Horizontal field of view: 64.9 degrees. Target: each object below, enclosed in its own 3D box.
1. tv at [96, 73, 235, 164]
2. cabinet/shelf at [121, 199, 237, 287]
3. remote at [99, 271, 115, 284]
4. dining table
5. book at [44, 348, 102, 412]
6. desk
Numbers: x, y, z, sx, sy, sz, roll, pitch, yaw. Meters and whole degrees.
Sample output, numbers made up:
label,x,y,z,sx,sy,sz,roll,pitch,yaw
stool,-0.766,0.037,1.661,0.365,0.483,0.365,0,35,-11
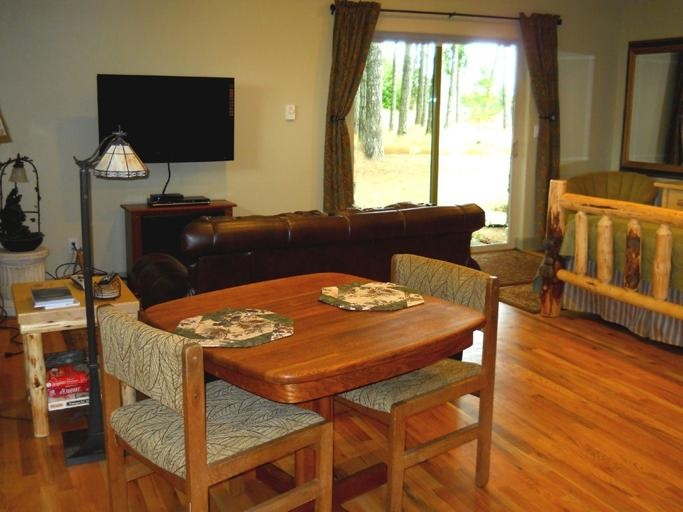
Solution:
label,x,y,z,sx,sy,sz,roll,pitch,yaw
tv,-1.635,-1.292,4.923,1.354,0.889,0.088,-5,14,-25
cabinet/shelf,-1.217,-0.103,3.961,0.732,0.663,0.307,-4,19,-18
remote,-1.307,0.129,3.026,0.073,0.032,0.053,10,50,13
dining table,-0.189,0.257,2.110,1.084,0.559,0.924,-16,25,-41
book,-1.500,0.650,2.959,0.372,0.132,0.339,-1,45,-25
desk,-1.435,0.463,3.241,0.842,0.839,0.813,-5,22,-27
